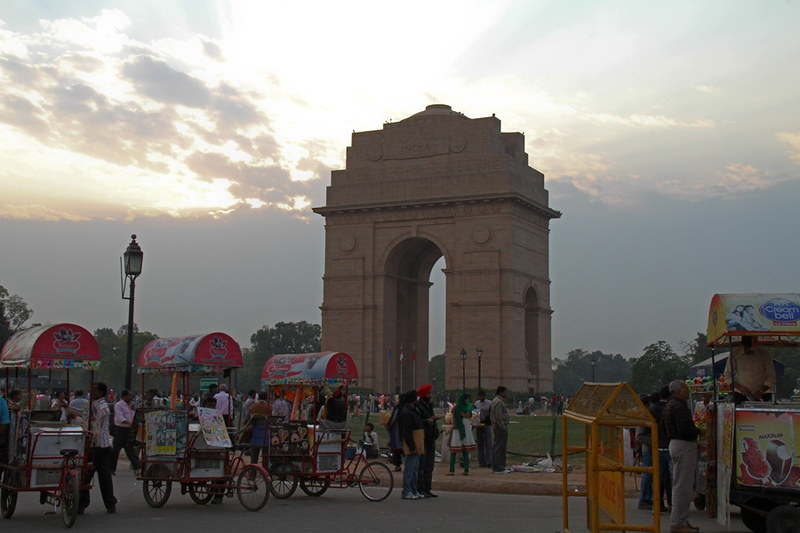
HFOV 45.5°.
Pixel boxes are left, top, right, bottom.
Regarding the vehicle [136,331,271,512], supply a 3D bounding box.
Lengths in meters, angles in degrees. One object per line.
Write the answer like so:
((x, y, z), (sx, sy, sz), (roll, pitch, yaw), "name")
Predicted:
((-4.264, 3.412, 21.224), (3.551, 3.679, 1.790), (-6, -9, 39), "vehicle")

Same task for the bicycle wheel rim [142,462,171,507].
((-5.279, 4.791, 20.779), (0.199, 0.805, 0.845), (18, -63, -47), "bicycle wheel rim")

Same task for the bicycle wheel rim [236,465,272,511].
((-3.102, 4.673, 20.359), (1.043, 0.959, 0.467), (-9, -14, 44), "bicycle wheel rim")

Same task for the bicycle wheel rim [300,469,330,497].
((-1.958, 5.099, 22.468), (0.662, 0.631, 0.649), (0, 0, 8), "bicycle wheel rim")

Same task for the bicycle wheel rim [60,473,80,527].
((-6.392, 4.488, 18.605), (0.289, 1.036, 0.832), (6, -11, -24), "bicycle wheel rim")

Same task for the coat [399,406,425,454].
((0.313, 3.732, 22.056), (0.593, 1.117, 0.568), (3, -10, -11), "coat")

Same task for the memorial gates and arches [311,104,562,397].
((3.039, -0.615, 70.656), (16.581, 20.713, 9.419), (-1, -5, 33), "memorial gates and arches")

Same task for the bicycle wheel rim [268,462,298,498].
((-2.691, 4.866, 22.062), (1.004, 1.025, 0.252), (3, 3, 40), "bicycle wheel rim")

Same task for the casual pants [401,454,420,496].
((0.256, 4.762, 21.936), (0.365, 0.997, 0.567), (1, -10, 2), "casual pants")
